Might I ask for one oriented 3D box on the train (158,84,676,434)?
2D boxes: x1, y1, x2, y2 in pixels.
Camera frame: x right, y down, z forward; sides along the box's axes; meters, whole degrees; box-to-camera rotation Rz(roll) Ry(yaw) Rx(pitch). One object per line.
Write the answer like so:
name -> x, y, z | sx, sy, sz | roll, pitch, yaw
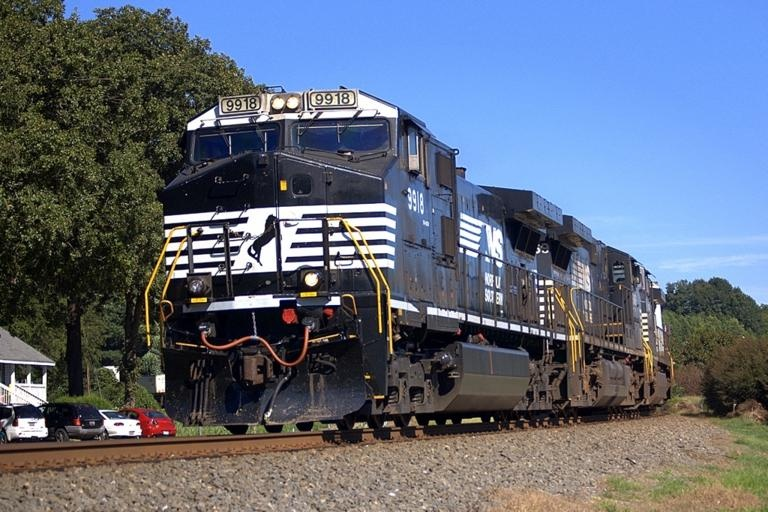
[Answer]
train -> 2.316, 1.176, 20.009 | 6.106, 6.676, 19.081 | -5, -9, 30
